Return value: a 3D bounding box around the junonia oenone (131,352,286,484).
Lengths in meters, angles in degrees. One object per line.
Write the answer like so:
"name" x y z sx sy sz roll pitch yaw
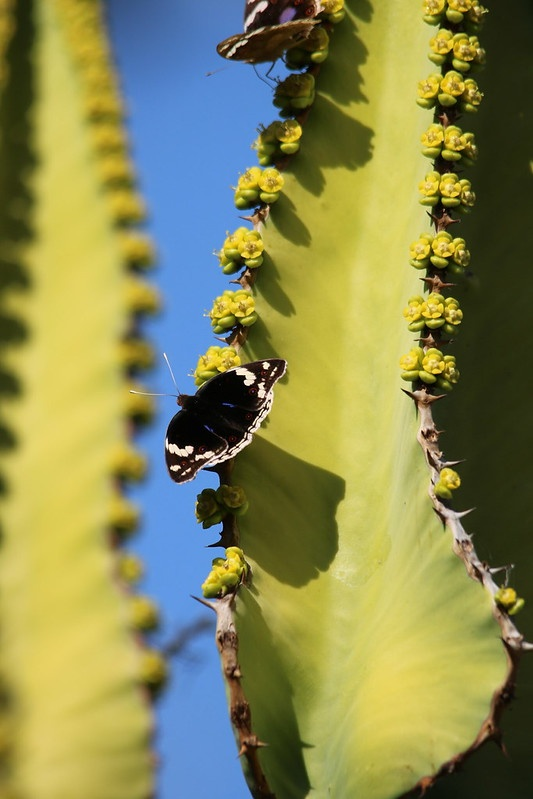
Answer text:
"junonia oenone" -0.092 0.041 4.252 0.315 0.154 0.209 -12 60 -11
